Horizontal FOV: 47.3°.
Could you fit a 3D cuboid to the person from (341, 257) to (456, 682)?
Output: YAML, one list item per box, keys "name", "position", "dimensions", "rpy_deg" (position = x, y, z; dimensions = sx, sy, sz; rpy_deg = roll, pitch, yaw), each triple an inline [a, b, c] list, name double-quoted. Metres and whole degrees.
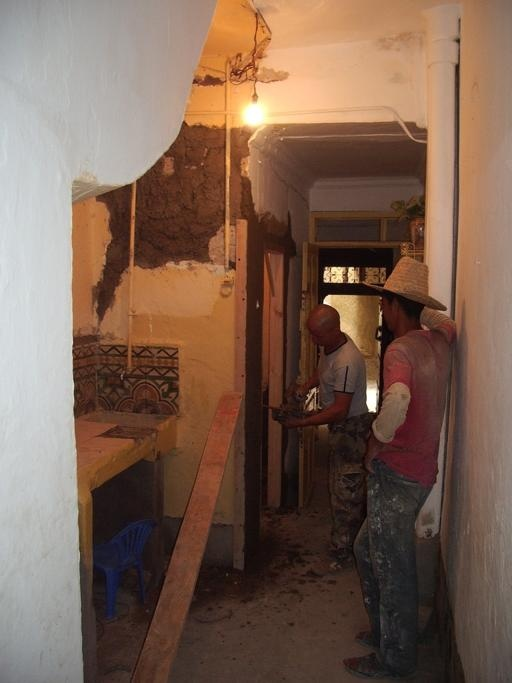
- name: "person"
  position: [0.642, 0.578, 2.637]
  dimensions: [0.455, 1.936, 0.641]
  rpy_deg: [2, 4, 19]

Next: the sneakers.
- name: "sneakers"
  position: [0.551, 1.467, 2.752]
  dimensions: [0.265, 0.204, 0.098]
  rpy_deg: [3, 5, 41]

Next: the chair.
- name: "chair"
  position: [-0.755, 1.211, 3.214]
  dimensions: [0.326, 0.514, 0.351]
  rpy_deg: [0, 3, -42]

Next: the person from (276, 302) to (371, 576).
- name: "person"
  position: [0.480, 0.632, 4.087]
  dimensions: [0.573, 1.809, 0.628]
  rpy_deg: [0, 26, 12]
